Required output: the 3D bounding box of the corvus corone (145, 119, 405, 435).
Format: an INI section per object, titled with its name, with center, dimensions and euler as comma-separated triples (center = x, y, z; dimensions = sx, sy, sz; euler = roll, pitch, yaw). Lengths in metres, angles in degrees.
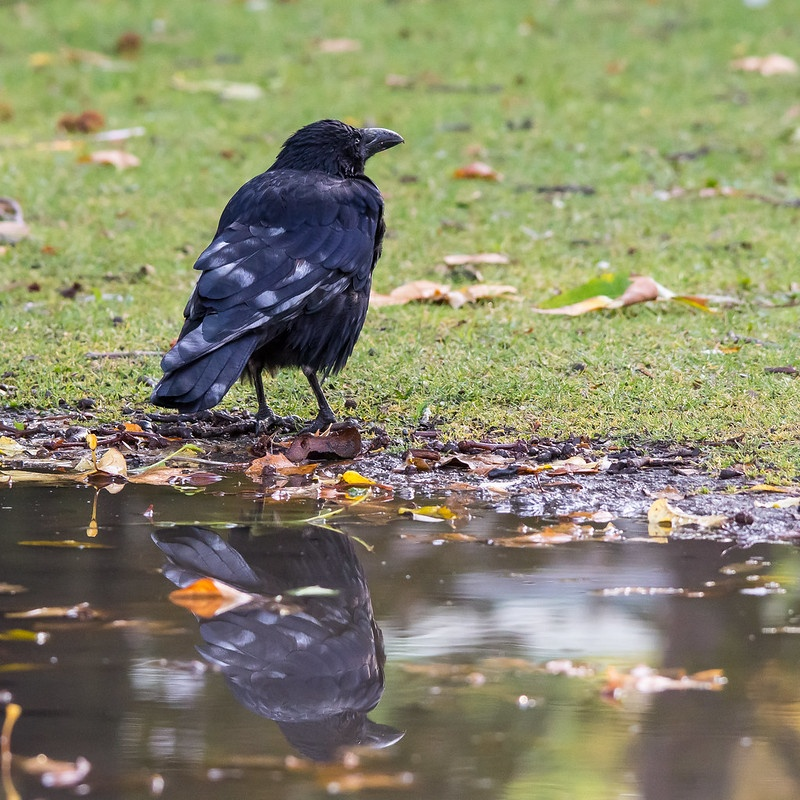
[corvus corone]
center = -0.456, -0.473, 4.535
dimensions = 0.709, 1.195, 1.578
euler = 6, 19, -1
